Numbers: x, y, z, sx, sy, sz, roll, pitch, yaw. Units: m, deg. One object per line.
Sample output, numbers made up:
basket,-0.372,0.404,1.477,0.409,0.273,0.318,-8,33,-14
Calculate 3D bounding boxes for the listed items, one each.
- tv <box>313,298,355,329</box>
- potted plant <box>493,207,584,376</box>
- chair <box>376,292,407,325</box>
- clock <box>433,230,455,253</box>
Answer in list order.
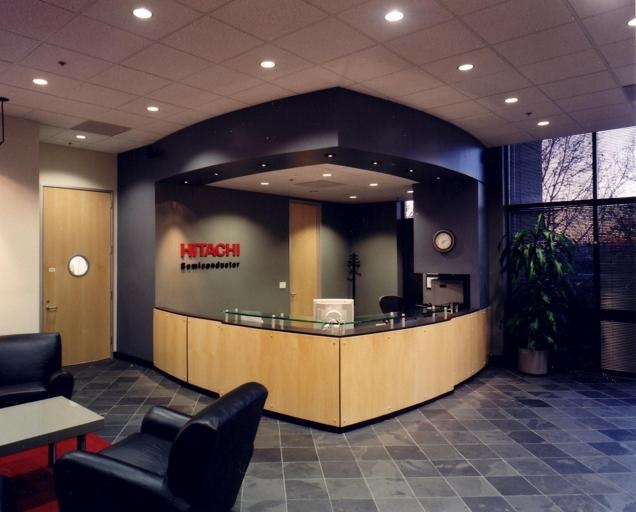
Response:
tv,0.193,0.638,5.525,0.466,0.276,0.498,1,7,1
potted plant,3.499,0.549,7.621,1.121,2.435,1.292,1,7,1
chair,1.124,0.798,7.839,0.363,0.598,0.394,1,-4,-18
clock,1.975,-0.225,7.568,0.325,0.365,0.122,3,7,14
